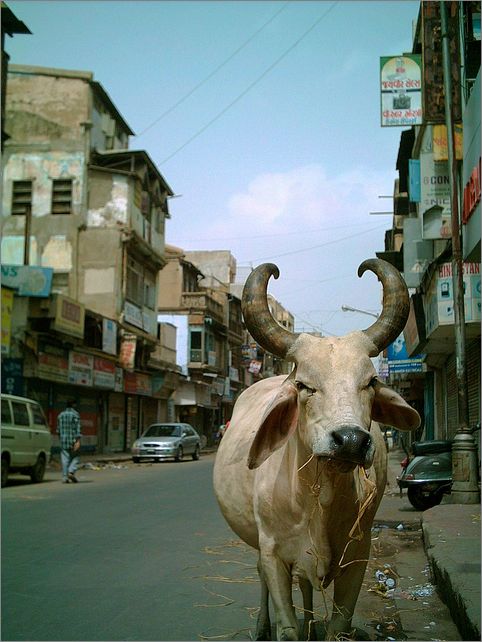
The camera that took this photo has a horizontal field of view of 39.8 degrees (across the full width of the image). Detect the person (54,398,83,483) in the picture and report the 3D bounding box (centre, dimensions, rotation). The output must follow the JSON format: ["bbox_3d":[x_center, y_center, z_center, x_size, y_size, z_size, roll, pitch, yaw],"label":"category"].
[{"bbox_3d":[-3.625,2.545,14.041,0.429,1.737,1.158,2,-9,-15],"label":"person"}]

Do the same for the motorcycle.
[{"bbox_3d":[2.948,2.147,9.263,1.450,1.265,0.773,-1,-6,-4],"label":"motorcycle"}]

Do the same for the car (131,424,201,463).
[{"bbox_3d":[-2.555,4.293,23.756,0.996,0.929,2.460,-4,-15,10],"label":"car"}]
